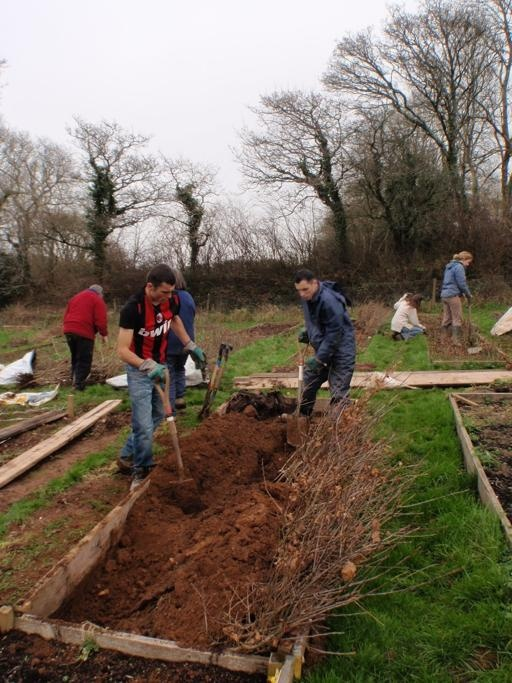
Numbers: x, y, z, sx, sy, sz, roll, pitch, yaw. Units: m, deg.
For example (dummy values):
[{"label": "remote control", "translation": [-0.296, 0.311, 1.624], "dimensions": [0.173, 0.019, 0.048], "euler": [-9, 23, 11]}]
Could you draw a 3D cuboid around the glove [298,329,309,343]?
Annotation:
[{"label": "glove", "translation": [0.548, -0.064, 5.859], "dimensions": [0.191, 0.128, 0.258], "euler": [-4, 5, 6]}]

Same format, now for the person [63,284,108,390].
[{"label": "person", "translation": [-2.619, -0.073, 7.956], "dimensions": [0.638, 1.124, 0.700], "euler": [-8, 5, -20]}]

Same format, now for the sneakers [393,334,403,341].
[{"label": "sneakers", "translation": [2.987, -0.109, 10.749], "dimensions": [0.146, 0.129, 0.140], "euler": [-15, 16, -35]}]

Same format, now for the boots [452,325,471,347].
[{"label": "boots", "translation": [3.688, -0.107, 9.247], "dimensions": [0.376, 0.339, 0.591], "euler": [-6, -12, 24]}]

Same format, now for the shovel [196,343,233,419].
[{"label": "shovel", "translation": [-0.464, 0.478, 5.974], "dimensions": [0.314, 1.210, 0.209], "euler": [10, 32, -19]}]

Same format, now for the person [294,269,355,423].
[{"label": "person", "translation": [0.640, 0.056, 5.124], "dimensions": [0.648, 1.511, 0.842], "euler": [-5, 5, 15]}]

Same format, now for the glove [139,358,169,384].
[{"label": "glove", "translation": [-0.840, 0.250, 4.197], "dimensions": [0.165, 0.096, 0.216], "euler": [35, -44, -27]}]

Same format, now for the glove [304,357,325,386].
[{"label": "glove", "translation": [0.591, 0.297, 5.123], "dimensions": [0.216, 0.268, 0.145], "euler": [-16, 51, -16]}]
